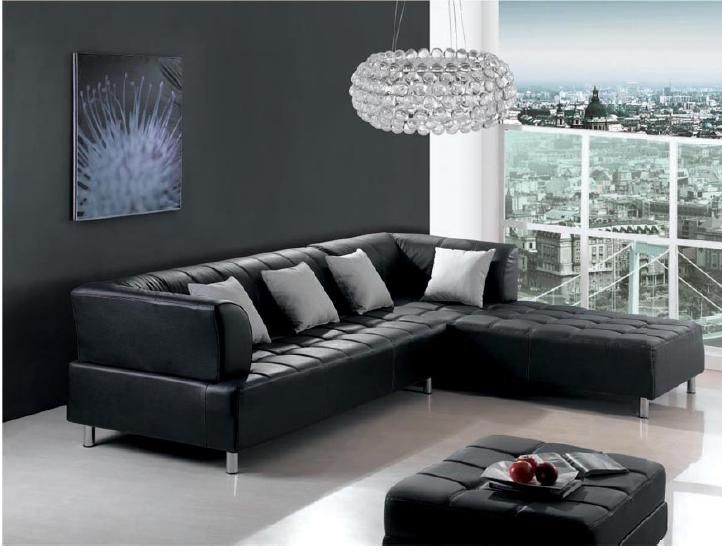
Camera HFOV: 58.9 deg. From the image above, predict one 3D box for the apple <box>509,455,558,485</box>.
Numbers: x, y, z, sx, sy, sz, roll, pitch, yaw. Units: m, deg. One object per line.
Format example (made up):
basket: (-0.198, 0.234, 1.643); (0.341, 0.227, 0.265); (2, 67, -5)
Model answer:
apple: (0.627, 0.692, 2.303); (0.107, 0.040, 0.106); (2, 2, 26)

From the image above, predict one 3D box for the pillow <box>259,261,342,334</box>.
pillow: (-0.405, 0.132, 4.353); (0.147, 0.446, 0.494); (-39, 0, 29)

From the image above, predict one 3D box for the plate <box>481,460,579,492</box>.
plate: (0.598, 0.737, 2.322); (0.199, 0.025, 0.166); (1, 2, 25)

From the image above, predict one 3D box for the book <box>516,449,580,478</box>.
book: (0.728, 0.710, 2.419); (0.138, 0.026, 0.144); (2, 3, 7)

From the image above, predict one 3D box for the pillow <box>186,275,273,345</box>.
pillow: (-0.849, 0.242, 3.954); (0.135, 0.396, 0.447); (-31, -6, 22)
